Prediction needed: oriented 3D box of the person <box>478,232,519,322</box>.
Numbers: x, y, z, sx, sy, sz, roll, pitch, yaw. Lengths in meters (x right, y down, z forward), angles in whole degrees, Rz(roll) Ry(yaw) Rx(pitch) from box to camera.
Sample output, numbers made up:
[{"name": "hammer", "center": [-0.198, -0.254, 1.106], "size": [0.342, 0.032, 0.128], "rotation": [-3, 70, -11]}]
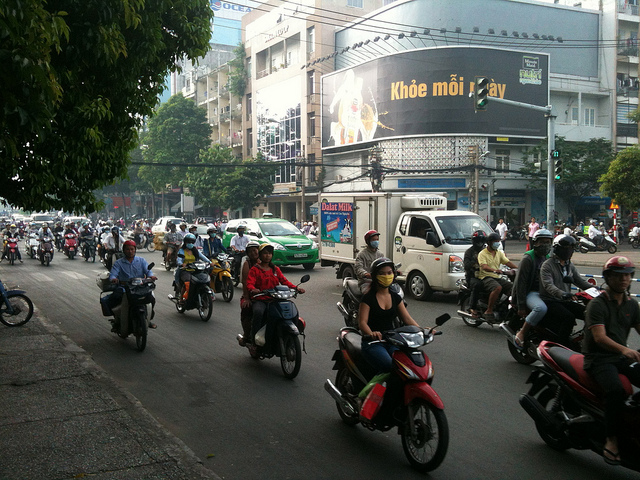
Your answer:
[{"name": "person", "center": [3.206, 0.670, 11.961], "size": [0.650, 1.573, 0.706], "rotation": [2, 4, 15]}]

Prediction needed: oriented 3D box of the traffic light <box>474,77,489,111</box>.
[{"name": "traffic light", "center": [5.218, -4.716, 21.189], "size": [0.352, 1.006, 0.848], "rotation": [2, 4, 17]}]

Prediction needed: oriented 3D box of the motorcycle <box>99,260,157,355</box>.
[{"name": "motorcycle", "center": [-3.185, 1.219, 11.215], "size": [0.700, 1.140, 1.264], "rotation": [-2, 5, -39]}]

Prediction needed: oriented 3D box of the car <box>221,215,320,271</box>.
[{"name": "car", "center": [-1.786, 0.085, 23.041], "size": [1.698, 1.502, 3.305], "rotation": [-1, 1, -35]}]

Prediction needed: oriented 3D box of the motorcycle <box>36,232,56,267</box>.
[{"name": "motorcycle", "center": [-10.822, 0.450, 25.791], "size": [0.467, 1.039, 0.980], "rotation": [-1, 4, -24]}]

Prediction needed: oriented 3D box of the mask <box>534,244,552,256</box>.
[{"name": "mask", "center": [3.328, 0.149, 9.775], "size": [0.246, 0.181, 0.296], "rotation": [2, 4, 19]}]

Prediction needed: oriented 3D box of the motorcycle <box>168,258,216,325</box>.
[{"name": "motorcycle", "center": [-2.519, 1.039, 13.606], "size": [0.535, 1.150, 1.452], "rotation": [-1, 4, -26]}]

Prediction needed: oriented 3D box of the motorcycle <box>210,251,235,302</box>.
[{"name": "motorcycle", "center": [-2.565, 0.886, 16.458], "size": [0.546, 1.152, 1.846], "rotation": [2, -6, -25]}]

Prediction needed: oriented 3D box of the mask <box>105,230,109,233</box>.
[{"name": "mask", "center": [-7.388, -0.289, 22.691], "size": [0.135, 0.045, 0.140], "rotation": [0, -4, -24]}]

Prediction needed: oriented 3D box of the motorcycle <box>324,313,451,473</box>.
[{"name": "motorcycle", "center": [0.775, 1.629, 7.209], "size": [0.516, 1.447, 1.638], "rotation": [-2, 4, -38]}]

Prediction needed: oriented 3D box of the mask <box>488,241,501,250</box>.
[{"name": "mask", "center": [3.186, 0.096, 12.017], "size": [0.127, 0.104, 0.169], "rotation": [0, 3, -2]}]

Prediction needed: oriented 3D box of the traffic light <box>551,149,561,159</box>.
[{"name": "traffic light", "center": [8.399, -3.050, 23.311], "size": [0.295, 0.245, 0.249], "rotation": [1, 1, 24]}]

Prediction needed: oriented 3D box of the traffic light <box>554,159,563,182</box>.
[{"name": "traffic light", "center": [8.584, -2.529, 23.669], "size": [0.242, 0.748, 0.869], "rotation": [2, 4, 15]}]

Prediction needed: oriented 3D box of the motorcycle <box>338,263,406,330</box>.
[{"name": "motorcycle", "center": [0.826, 1.071, 11.111], "size": [0.726, 1.075, 1.482], "rotation": [16, -5, -31]}]

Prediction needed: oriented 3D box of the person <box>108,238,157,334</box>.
[{"name": "person", "center": [-3.300, 0.881, 11.216], "size": [0.872, 1.151, 1.637], "rotation": [-3, 17, -35]}]

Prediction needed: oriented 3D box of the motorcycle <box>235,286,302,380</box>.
[{"name": "motorcycle", "center": [-0.573, 1.322, 9.663], "size": [0.478, 1.262, 1.063], "rotation": [-2, 4, -35]}]

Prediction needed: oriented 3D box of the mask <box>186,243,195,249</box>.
[{"name": "mask", "center": [-2.867, 0.132, 14.380], "size": [0.178, 0.134, 0.118], "rotation": [3, 4, 28]}]

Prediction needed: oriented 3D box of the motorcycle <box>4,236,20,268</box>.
[{"name": "motorcycle", "center": [-12.495, 0.454, 26.420], "size": [0.484, 1.081, 1.139], "rotation": [-1, 4, -26]}]

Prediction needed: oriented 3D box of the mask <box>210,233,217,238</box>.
[{"name": "mask", "center": [-2.721, -0.115, 16.522], "size": [0.094, 0.084, 0.095], "rotation": [1, -1, -36]}]

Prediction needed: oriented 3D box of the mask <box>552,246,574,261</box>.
[{"name": "mask", "center": [3.399, 0.191, 9.157], "size": [0.235, 0.218, 0.344], "rotation": [2, 4, 20]}]
